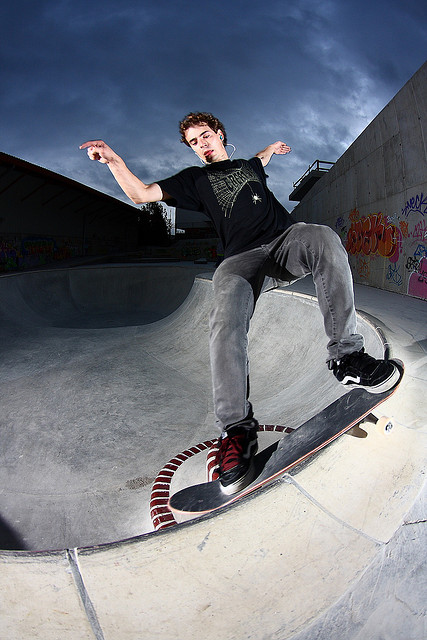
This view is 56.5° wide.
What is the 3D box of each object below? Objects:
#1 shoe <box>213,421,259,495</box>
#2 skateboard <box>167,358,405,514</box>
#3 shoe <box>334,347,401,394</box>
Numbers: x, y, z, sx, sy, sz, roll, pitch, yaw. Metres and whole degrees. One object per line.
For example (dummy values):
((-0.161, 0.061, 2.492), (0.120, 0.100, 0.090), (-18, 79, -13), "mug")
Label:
((0.092, 0.527, 1.537), (0.096, 0.126, 0.293), (-28, 2, 11), "shoe")
((0.321, 0.545, 1.900), (0.980, 0.166, 0.239), (-41, 9, -1), "skateboard")
((0.719, 0.237, 1.885), (0.169, 0.211, 0.474), (-15, -6, -16), "shoe")
